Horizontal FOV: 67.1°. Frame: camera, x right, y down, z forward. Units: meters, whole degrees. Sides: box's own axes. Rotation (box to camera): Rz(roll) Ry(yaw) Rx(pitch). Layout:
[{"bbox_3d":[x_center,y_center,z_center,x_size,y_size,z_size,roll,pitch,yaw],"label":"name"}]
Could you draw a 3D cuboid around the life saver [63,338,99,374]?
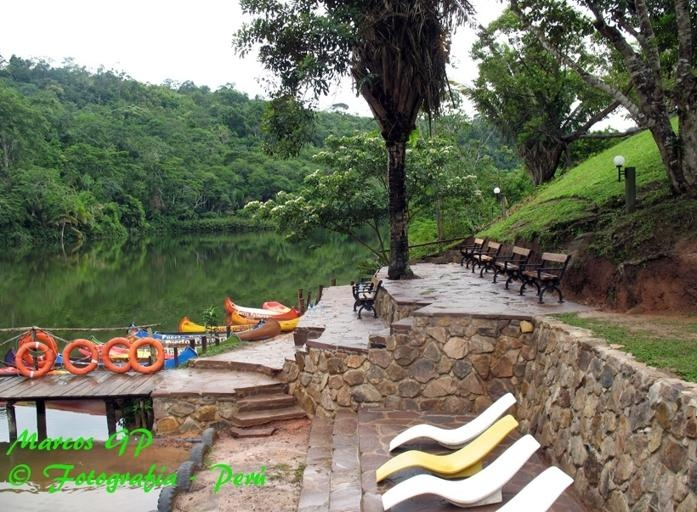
[{"bbox_3d":[-6.943,2.585,13.766,0.954,1.072,0.266,6,-10,-12],"label":"life saver"}]
